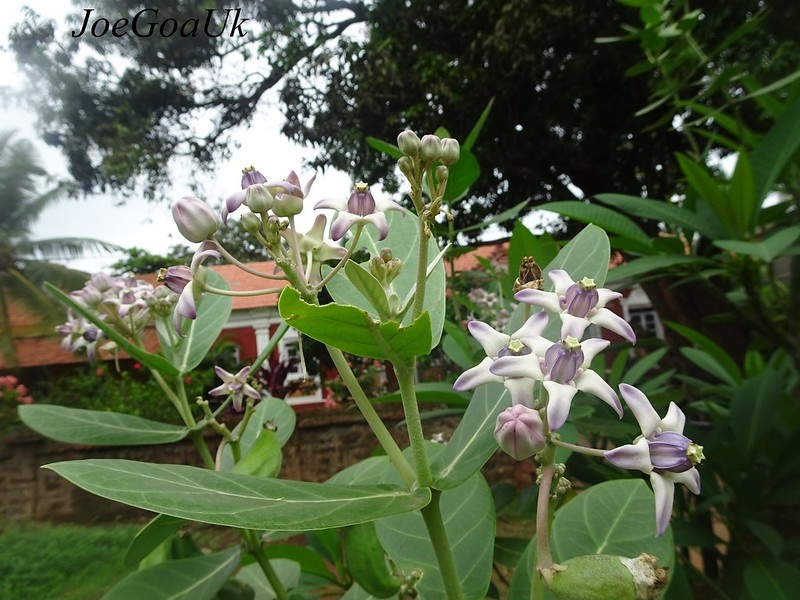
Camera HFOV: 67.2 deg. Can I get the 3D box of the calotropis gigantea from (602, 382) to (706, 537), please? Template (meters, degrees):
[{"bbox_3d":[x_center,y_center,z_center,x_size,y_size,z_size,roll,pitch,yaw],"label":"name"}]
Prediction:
[{"bbox_3d":[0.536,0.311,1.221,0.203,0.133,0.342,21,33,19],"label":"calotropis gigantea"}]

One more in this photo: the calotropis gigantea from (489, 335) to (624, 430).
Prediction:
[{"bbox_3d":[0.315,0.164,1.228,0.238,0.184,0.131,-8,-3,16],"label":"calotropis gigantea"}]

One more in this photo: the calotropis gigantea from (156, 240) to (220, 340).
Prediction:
[{"bbox_3d":[-0.472,-0.034,1.370,0.147,0.224,0.213,-2,-26,-29],"label":"calotropis gigantea"}]
